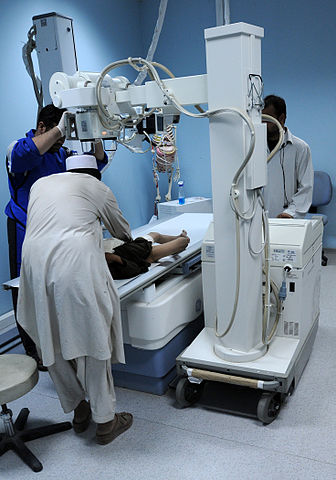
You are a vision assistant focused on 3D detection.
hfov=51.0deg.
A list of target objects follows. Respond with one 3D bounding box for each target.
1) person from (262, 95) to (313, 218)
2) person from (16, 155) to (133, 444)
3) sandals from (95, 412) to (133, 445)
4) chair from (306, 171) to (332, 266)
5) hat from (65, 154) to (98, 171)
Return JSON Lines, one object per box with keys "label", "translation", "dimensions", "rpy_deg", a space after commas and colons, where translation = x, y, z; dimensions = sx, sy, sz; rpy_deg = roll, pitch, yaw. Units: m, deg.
{"label": "person", "translation": [0.877, -0.607, 2.574], "dimensions": [0.358, 0.902, 0.342], "rpy_deg": [-1, 8, 20]}
{"label": "person", "translation": [-0.474, 0.285, 1.687], "dimensions": [0.505, 1.366, 0.404], "rpy_deg": [-4, 8, 3]}
{"label": "sandals", "translation": [-0.251, 0.894, 1.746], "dimensions": [0.088, 0.100, 0.231], "rpy_deg": [10, 9, 34]}
{"label": "chair", "translation": [1.771, -0.262, 4.052], "dimensions": [0.254, 1.049, 0.540], "rpy_deg": [0, 9, 26]}
{"label": "hat", "translation": [-0.427, -0.385, 1.741], "dimensions": [0.098, 0.054, 0.102], "rpy_deg": [13, 22, 40]}
